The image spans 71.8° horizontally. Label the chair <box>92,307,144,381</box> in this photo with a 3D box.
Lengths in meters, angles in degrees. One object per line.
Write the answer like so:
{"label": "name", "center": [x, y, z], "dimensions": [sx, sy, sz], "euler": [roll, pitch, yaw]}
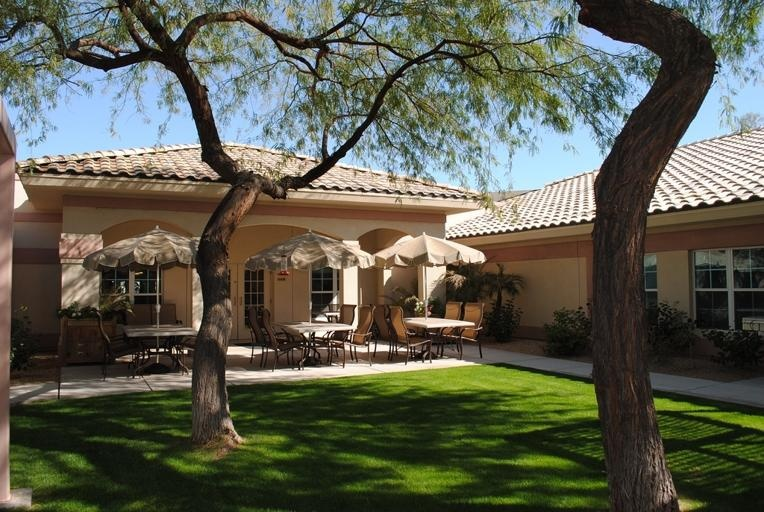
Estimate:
{"label": "chair", "center": [-5.895, 1.973, 11.983], "dimensions": [0.975, 1.515, 0.895], "euler": [0, 1, -25]}

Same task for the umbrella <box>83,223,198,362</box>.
{"label": "umbrella", "center": [-5.635, 0.761, 12.223], "dimensions": [2.964, 3.031, 3.097], "euler": [-1, 1, -14]}

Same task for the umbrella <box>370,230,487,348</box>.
{"label": "umbrella", "center": [1.206, 0.599, 13.966], "dimensions": [2.400, 2.303, 2.573], "euler": [2, 3, 5]}

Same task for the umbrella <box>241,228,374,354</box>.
{"label": "umbrella", "center": [-1.848, 0.790, 13.243], "dimensions": [2.472, 1.859, 2.590], "euler": [-1, -1, -6]}
